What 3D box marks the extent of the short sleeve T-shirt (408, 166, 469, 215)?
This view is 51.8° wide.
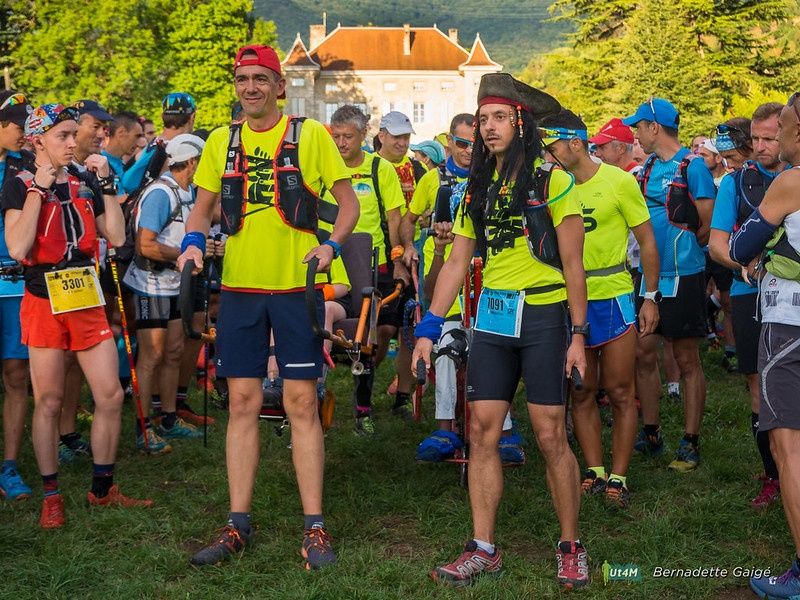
[{"bbox_3d":[0.454,-1.163,8.889,0.659,0.634,0.325,-2,11,-31],"label":"short sleeve T-shirt"}]

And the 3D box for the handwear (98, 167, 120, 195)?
[{"bbox_3d":[-2.348,-0.956,6.657,0.146,0.194,0.093,-27,15,-24],"label":"handwear"}]

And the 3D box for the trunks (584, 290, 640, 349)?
[{"bbox_3d":[1.658,0.163,6.573,0.430,0.411,0.258,-6,-6,33],"label":"trunks"}]

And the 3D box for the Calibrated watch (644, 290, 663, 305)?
[{"bbox_3d":[2.128,-0.014,6.982,0.130,0.089,0.129,-1,1,-25],"label":"Calibrated watch"}]

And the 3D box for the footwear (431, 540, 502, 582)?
[{"bbox_3d":[0.437,1.762,5.499,0.532,0.256,0.182,-1,-2,-25],"label":"footwear"}]

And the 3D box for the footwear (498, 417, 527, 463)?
[{"bbox_3d":[0.973,1.247,7.525,0.185,0.386,0.564,5,-8,14],"label":"footwear"}]

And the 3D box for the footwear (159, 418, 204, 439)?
[{"bbox_3d":[-2.242,1.301,8.333,0.522,0.236,0.189,1,4,-11],"label":"footwear"}]

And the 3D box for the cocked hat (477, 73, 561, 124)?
[{"bbox_3d":[0.792,-1.359,5.505,0.373,0.146,0.352,17,-4,-37],"label":"cocked hat"}]

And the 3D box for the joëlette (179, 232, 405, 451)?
[{"bbox_3d":[-1.186,0.194,7.453,1.653,2.286,2.223,1,-4,16],"label":"joëlette"}]

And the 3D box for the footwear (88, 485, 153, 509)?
[{"bbox_3d":[-2.210,1.565,6.523,0.567,0.226,0.192,1,-3,-2],"label":"footwear"}]

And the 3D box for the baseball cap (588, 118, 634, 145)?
[{"bbox_3d":[2.105,-1.701,8.318,0.415,0.232,0.259,0,10,4],"label":"baseball cap"}]

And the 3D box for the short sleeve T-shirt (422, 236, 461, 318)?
[{"bbox_3d":[0.384,-0.187,7.671,0.246,0.791,0.235,5,-2,-24],"label":"short sleeve T-shirt"}]

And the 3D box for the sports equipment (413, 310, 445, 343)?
[{"bbox_3d":[0.187,0.207,5.625,0.164,0.226,0.224,24,-10,3],"label":"sports equipment"}]

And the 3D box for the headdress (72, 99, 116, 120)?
[{"bbox_3d":[-2.585,-1.618,6.993,0.301,0.131,0.216,12,13,4],"label":"headdress"}]

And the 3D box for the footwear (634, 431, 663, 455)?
[{"bbox_3d":[2.271,1.361,7.851,0.367,0.253,0.184,3,-1,-15],"label":"footwear"}]

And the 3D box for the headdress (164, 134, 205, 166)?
[{"bbox_3d":[-2.022,-1.428,7.888,0.425,0.277,0.319,-23,25,-25],"label":"headdress"}]

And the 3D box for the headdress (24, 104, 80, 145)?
[{"bbox_3d":[-2.655,-1.362,6.237,0.348,0.183,0.240,-32,2,7],"label":"headdress"}]

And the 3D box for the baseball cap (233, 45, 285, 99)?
[{"bbox_3d":[-0.959,-1.586,5.678,0.264,0.377,0.379,6,24,14],"label":"baseball cap"}]

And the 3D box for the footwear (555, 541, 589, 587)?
[{"bbox_3d":[1.157,1.755,5.497,0.233,0.284,0.243,2,9,5],"label":"footwear"}]

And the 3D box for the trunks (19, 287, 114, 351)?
[{"bbox_3d":[-2.526,0.228,6.286,0.743,0.648,0.424,1,-6,-26],"label":"trunks"}]

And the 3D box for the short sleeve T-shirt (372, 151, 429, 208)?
[{"bbox_3d":[0.054,-1.501,10.506,0.661,0.647,0.366,-2,-3,-6],"label":"short sleeve T-shirt"}]

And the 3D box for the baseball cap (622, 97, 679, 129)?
[{"bbox_3d":[2.298,-1.726,7.625,0.429,0.237,0.272,15,24,20],"label":"baseball cap"}]

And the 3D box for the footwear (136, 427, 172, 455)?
[{"bbox_3d":[-2.291,1.336,7.724,0.382,0.188,0.175,3,6,35],"label":"footwear"}]

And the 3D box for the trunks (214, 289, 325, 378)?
[{"bbox_3d":[-0.850,0.220,5.944,0.980,0.860,0.538,0,-3,-1],"label":"trunks"}]

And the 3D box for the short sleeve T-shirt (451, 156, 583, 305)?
[{"bbox_3d":[0.781,-0.467,5.678,0.951,0.961,0.505,5,13,34],"label":"short sleeve T-shirt"}]

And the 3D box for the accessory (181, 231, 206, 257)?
[{"bbox_3d":[-1.457,-0.372,5.814,0.159,0.168,0.132,6,39,-11],"label":"accessory"}]

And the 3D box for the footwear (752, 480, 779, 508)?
[{"bbox_3d":[2.925,1.585,6.667,0.391,0.167,0.127,-7,-5,-41],"label":"footwear"}]

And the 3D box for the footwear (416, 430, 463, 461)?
[{"bbox_3d":[0.338,1.263,7.022,0.192,0.160,0.357,-3,-6,20],"label":"footwear"}]
